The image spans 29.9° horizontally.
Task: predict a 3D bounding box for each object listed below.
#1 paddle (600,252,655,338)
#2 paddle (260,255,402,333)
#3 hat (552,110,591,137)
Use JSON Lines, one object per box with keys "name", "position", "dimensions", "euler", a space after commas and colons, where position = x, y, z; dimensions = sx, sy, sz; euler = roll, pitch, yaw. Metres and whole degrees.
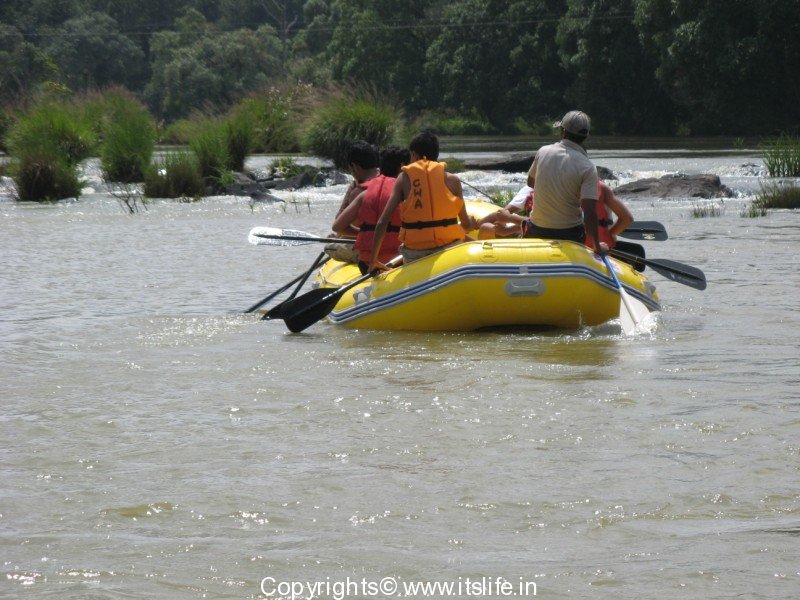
{"name": "paddle", "position": [2.376, -0.071, 16.187], "dimensions": [0.293, 0.086, 1.290], "euler": [-23, 41, -12]}
{"name": "paddle", "position": [-0.736, -0.041, 16.986], "dimensions": [1.557, 0.163, 0.269], "euler": [-29, 47, -27]}
{"name": "hat", "position": [1.855, -1.932, 16.497], "dimensions": [0.435, 0.203, 0.310], "euler": [7, 13, 44]}
